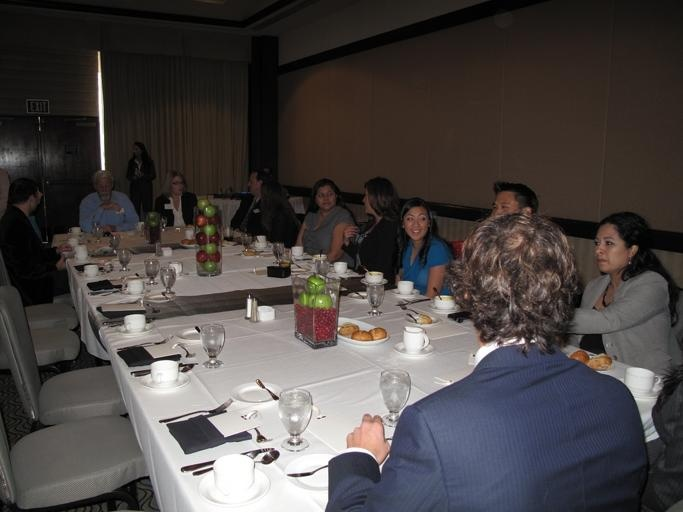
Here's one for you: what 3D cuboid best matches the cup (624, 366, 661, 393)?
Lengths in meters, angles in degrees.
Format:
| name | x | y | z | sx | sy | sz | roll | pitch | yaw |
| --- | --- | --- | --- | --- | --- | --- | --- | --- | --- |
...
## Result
| name | x | y | z | sx | sy | sz | roll | pitch | yaw |
| --- | --- | --- | --- | --- | --- | --- | --- | --- | --- |
| cup | 1.066 | 0.429 | 1.702 | 0.073 | 0.057 | 0.105 | -5 | -8 | 5 |

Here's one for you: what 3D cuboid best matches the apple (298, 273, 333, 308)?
| name | x | y | z | sx | sy | sz | roll | pitch | yaw |
| --- | --- | --- | --- | --- | --- | --- | --- | --- | --- |
| apple | -0.104 | 0.145 | 2.086 | 0.126 | 0.139 | 0.124 | 5 | -4 | -31 |

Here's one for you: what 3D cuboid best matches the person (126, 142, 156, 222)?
| name | x | y | z | sx | sy | sz | roll | pitch | yaw |
| --- | --- | --- | --- | --- | --- | --- | --- | --- | --- |
| person | -3.288 | -1.154 | 7.925 | 0.359 | 1.380 | 0.404 | 0 | 14 | -9 |

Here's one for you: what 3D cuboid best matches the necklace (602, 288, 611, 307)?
| name | x | y | z | sx | sy | sz | roll | pitch | yaw |
| --- | --- | --- | --- | --- | --- | --- | --- | --- | --- |
| necklace | 1.417 | 0.222 | 2.570 | 0.053 | 0.102 | 0.022 | -3 | 7 | -31 |
